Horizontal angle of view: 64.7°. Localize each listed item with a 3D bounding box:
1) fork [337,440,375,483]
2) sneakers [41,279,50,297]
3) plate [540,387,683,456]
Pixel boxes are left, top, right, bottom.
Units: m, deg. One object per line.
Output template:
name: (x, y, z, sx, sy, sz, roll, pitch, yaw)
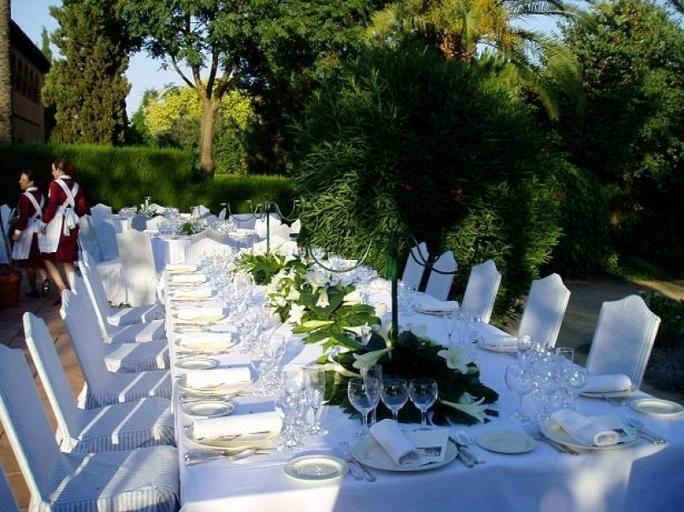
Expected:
fork: (0.053, 0.856, 2.224, 0.053, 0.042, 0.340, -9, 15, -8)
sneakers: (-4.968, 0.529, 9.052, 0.083, 0.286, 0.093, 2, -5, -21)
plate: (1.178, 0.746, 2.430, 0.355, 0.057, 0.243, -5, 14, -15)
